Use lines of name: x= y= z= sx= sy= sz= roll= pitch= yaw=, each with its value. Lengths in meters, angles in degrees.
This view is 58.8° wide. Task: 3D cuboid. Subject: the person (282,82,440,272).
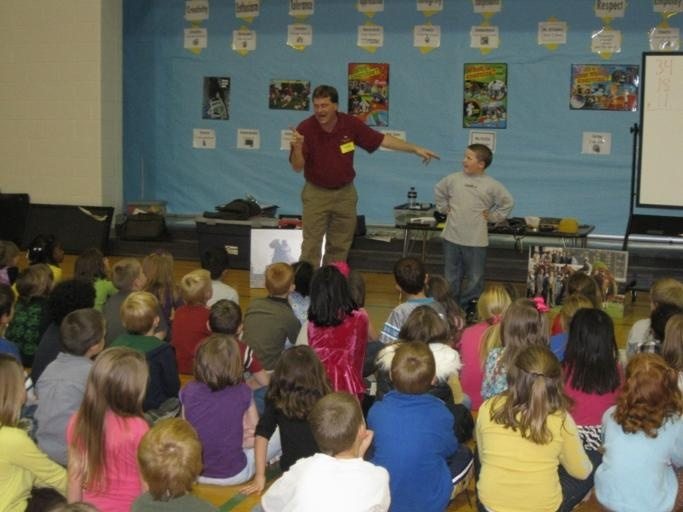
person: x=0.029 y=-0.673 z=5.495 sx=0.898 sy=1.621 sz=0.738 roll=3 pitch=0 yaw=11

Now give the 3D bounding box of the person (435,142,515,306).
person: x=1.271 y=-0.274 z=5.939 sx=0.744 sy=1.573 sz=0.414 roll=3 pitch=0 yaw=11
